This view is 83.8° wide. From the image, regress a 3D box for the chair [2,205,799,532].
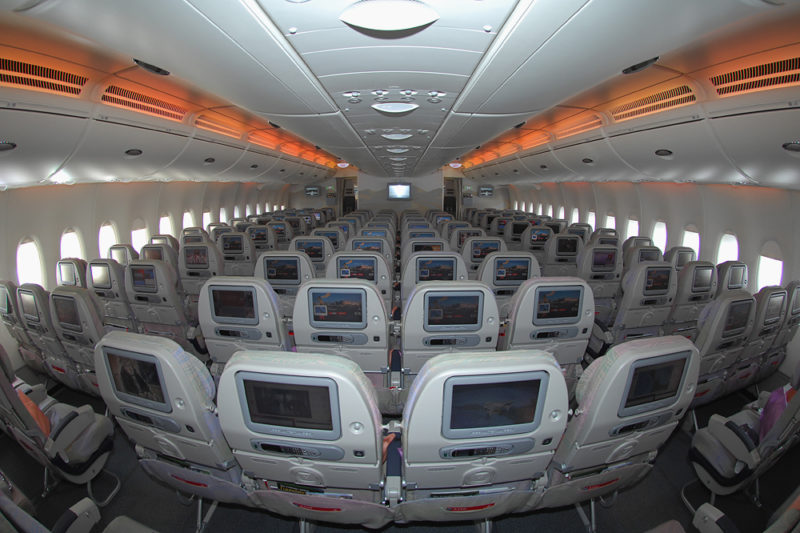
[{"bbox_3d":[-0.032,1.418,3.834,5.000,1.812,1.003,-1,-9,0],"label":"chair"}]
